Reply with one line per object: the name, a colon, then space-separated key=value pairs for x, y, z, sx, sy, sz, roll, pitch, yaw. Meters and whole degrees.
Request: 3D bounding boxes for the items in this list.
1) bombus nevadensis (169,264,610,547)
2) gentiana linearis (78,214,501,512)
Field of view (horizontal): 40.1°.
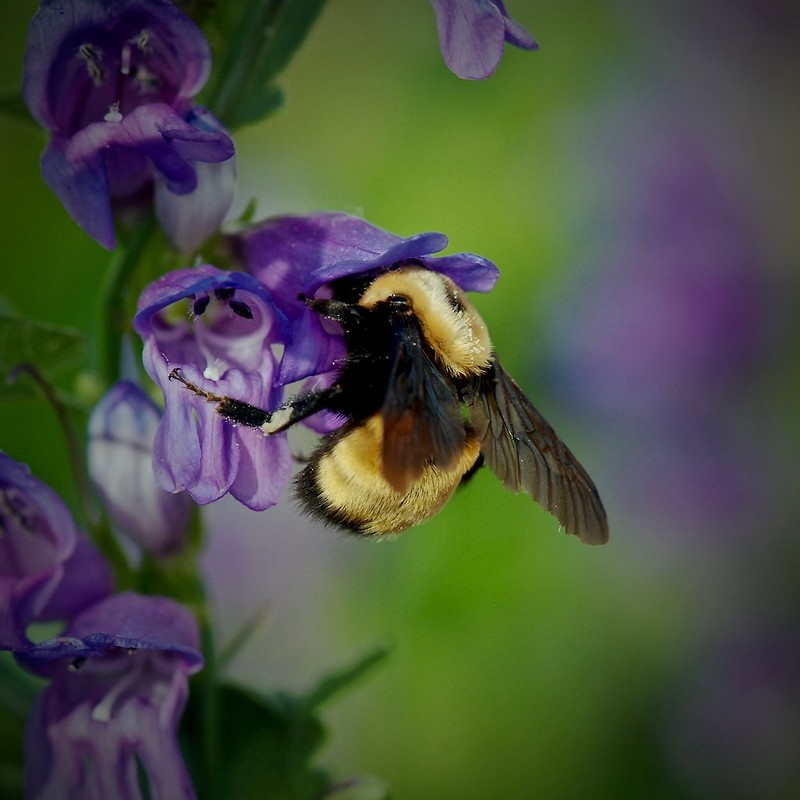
bombus nevadensis: x=0.024 y=0.006 z=1.364 sx=0.414 sy=0.308 sz=0.577 roll=0 pitch=-7 yaw=36
gentiana linearis: x=-0.125 y=-0.053 z=1.308 sx=0.413 sy=0.407 sz=0.239 roll=3 pitch=21 yaw=-45
